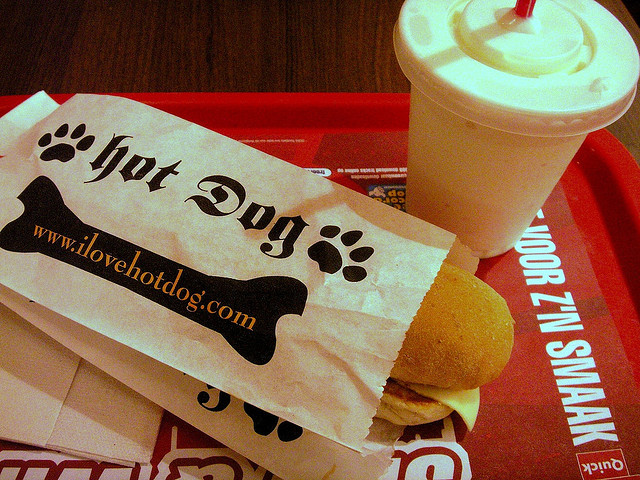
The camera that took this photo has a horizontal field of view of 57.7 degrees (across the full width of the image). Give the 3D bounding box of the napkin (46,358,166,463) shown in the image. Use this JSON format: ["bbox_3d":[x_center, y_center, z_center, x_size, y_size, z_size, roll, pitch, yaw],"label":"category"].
[{"bbox_3d":[-0.332,0.274,0.928,0.161,0.049,0.133,11,76,4],"label":"napkin"}]
